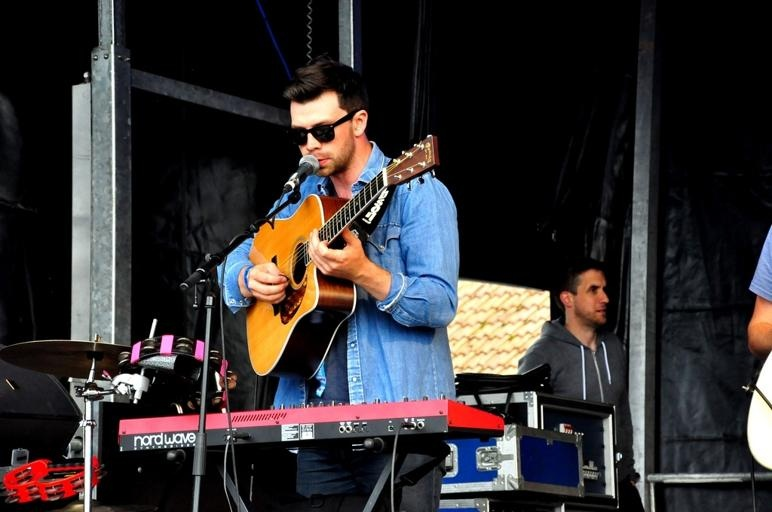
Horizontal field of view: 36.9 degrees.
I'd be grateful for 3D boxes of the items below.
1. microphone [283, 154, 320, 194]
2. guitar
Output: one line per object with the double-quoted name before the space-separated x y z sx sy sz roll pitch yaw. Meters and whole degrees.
"microphone" -0.395 -0.378 5.494 0.082 0.085 0.284 19 46 37
"guitar" -0.208 -0.061 5.726 0.787 1.298 1.030 9 19 17
